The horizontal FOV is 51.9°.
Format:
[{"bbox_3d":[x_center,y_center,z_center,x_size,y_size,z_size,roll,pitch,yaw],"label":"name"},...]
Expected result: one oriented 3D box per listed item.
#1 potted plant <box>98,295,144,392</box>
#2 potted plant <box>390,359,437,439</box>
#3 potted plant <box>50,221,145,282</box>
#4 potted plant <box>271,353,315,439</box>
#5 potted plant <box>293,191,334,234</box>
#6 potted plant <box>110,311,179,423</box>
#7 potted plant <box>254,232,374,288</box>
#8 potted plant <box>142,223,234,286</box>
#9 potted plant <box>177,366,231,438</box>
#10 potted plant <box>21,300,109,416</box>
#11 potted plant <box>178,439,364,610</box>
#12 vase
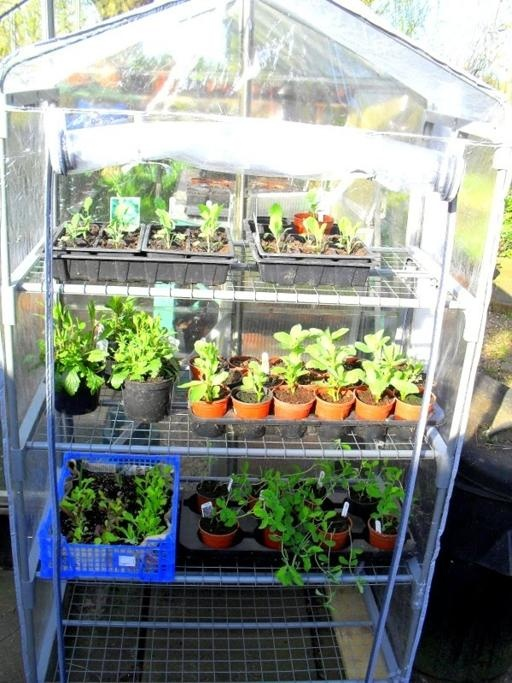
[{"bbox_3d":[-0.541,-0.079,2.210,0.114,0.113,0.298,-16,65,-31],"label":"potted plant"},{"bbox_3d":[0.601,0.212,2.068,0.221,0.101,0.276,-1,28,0],"label":"potted plant"},{"bbox_3d":[-0.560,-0.335,1.868,0.205,0.115,0.291,0,20,-4],"label":"potted plant"},{"bbox_3d":[0.138,0.254,2.042,0.176,0.155,0.204,0,28,-2],"label":"potted plant"},{"bbox_3d":[0.221,-0.493,2.076,0.102,0.123,0.100,9,-2,-35],"label":"potted plant"},{"bbox_3d":[-0.418,0.097,2.013,0.235,0.340,0.349,0,24,-9],"label":"potted plant"},{"bbox_3d":[0.190,-0.272,1.820,0.265,0.087,0.185,0,26,-7],"label":"potted plant"},{"bbox_3d":[-0.248,-0.322,1.965,0.303,0.144,0.455,0,24,-8],"label":"potted plant"},{"bbox_3d":[-0.181,0.221,1.954,0.148,0.176,0.121,-4,25,-18],"label":"potted plant"},{"bbox_3d":[-0.648,0.074,2.022,0.285,0.333,0.291,-2,11,7],"label":"potted plant"},{"bbox_3d":[0.138,0.658,2.263,0.890,0.594,0.345,8,-8,-4],"label":"potted plant"},{"bbox_3d":[0.595,0.699,2.406,0.293,0.252,0.407,-1,28,-2],"label":"vase"}]
